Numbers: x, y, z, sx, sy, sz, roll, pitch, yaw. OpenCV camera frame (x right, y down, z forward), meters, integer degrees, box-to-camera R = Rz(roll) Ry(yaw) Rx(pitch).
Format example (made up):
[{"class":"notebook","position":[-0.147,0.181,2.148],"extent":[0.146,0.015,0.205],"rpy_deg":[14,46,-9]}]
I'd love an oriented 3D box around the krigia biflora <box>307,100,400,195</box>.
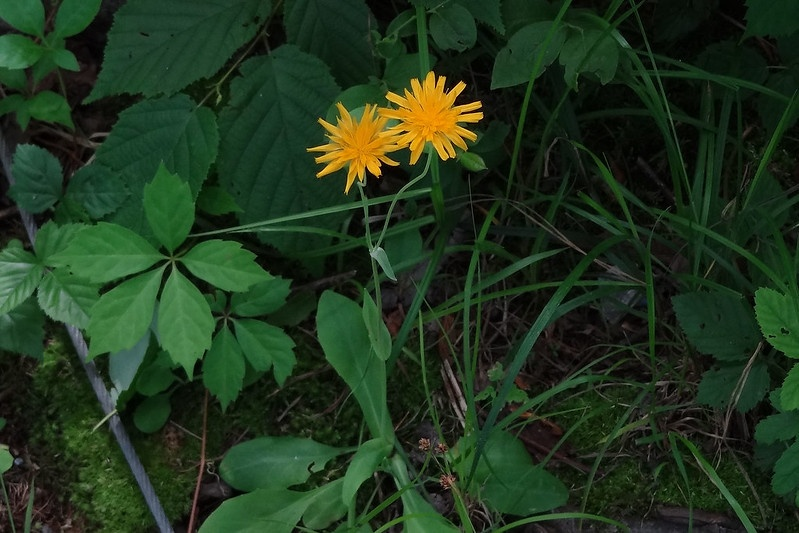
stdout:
[{"class":"krigia biflora","position":[-0.112,-0.373,1.939],"extent":[0.326,0.319,0.115],"rpy_deg":[-3,75,-24]}]

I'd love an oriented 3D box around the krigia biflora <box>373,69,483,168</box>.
[{"class":"krigia biflora","position":[0.090,-0.417,1.916],"extent":[0.290,0.263,0.192],"rpy_deg":[-11,41,-13]}]
